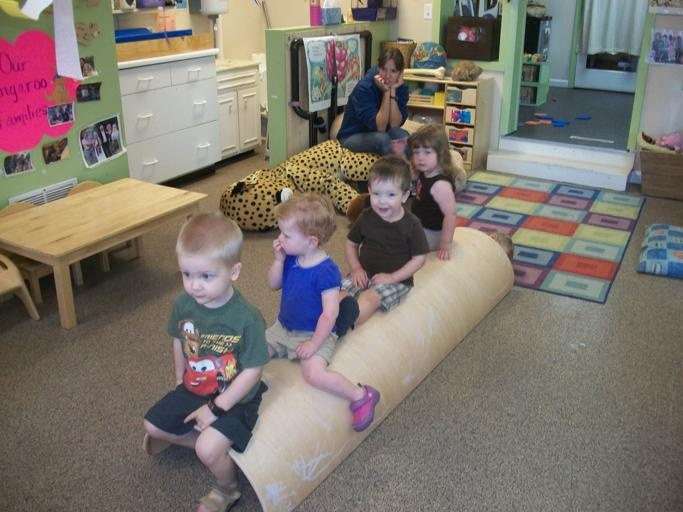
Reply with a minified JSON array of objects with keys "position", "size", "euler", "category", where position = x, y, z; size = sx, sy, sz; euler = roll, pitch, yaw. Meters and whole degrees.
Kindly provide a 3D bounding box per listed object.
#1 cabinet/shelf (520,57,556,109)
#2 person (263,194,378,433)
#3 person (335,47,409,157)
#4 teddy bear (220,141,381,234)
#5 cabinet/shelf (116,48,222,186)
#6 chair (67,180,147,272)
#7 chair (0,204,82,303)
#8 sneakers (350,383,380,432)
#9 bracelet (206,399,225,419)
[{"position":[2.313,-2.085,6.430],"size":[0.327,0.513,0.441],"euler":[9,27,19],"category":"cabinet/shelf"},{"position":[-0.075,0.213,1.907],"size":[0.353,0.777,0.398],"euler":[-11,27,-20],"category":"person"},{"position":[0.318,-1.188,4.168],"size":[0.693,0.756,0.429],"euler":[21,33,38],"category":"person"},{"position":[-0.319,-0.541,3.946],"size":[0.649,0.343,0.955],"euler":[10,38,37],"category":"teddy bear"},{"position":[-1.389,-1.104,4.238],"size":[0.580,0.888,0.898],"euler":[14,32,28],"category":"cabinet/shelf"},{"position":[-1.328,-0.179,3.013],"size":[0.300,0.473,0.294],"euler":[20,34,26],"category":"chair"},{"position":[-1.563,-0.022,2.770],"size":[0.306,0.458,0.303],"euler":[17,29,28],"category":"chair"},{"position":[0.080,0.542,1.921],"size":[0.064,0.174,0.091],"euler":[16,-10,-30],"category":"sneakers"},{"position":[-0.401,0.481,1.705],"size":[0.061,0.041,0.057],"euler":[30,15,-51],"category":"bracelet"}]
